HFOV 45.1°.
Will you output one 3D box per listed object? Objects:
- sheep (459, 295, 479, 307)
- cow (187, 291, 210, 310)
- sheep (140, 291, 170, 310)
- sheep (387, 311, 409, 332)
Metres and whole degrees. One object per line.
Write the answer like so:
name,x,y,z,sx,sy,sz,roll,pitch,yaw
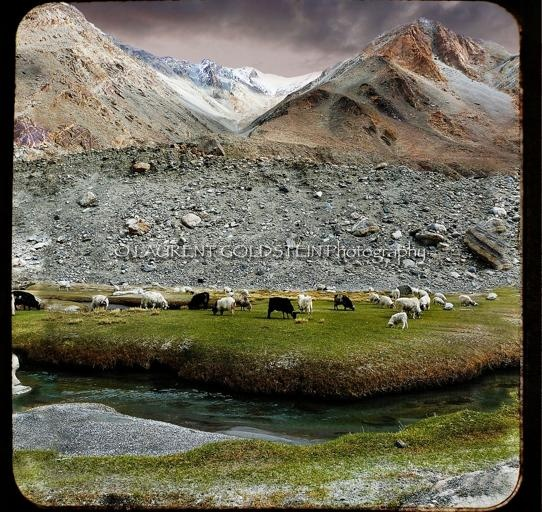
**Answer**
sheep,10.733,2.462,35.447,0.877,0.643,0.870,1,10,15
cow,-3.707,2.353,33.527,1.001,0.845,1.296,-3,10,-6
sheep,-6.106,2.344,33.837,1.262,0.978,1.784,-6,10,-25
sheep,5.266,2.677,27.044,0.785,0.638,0.778,0,10,9
